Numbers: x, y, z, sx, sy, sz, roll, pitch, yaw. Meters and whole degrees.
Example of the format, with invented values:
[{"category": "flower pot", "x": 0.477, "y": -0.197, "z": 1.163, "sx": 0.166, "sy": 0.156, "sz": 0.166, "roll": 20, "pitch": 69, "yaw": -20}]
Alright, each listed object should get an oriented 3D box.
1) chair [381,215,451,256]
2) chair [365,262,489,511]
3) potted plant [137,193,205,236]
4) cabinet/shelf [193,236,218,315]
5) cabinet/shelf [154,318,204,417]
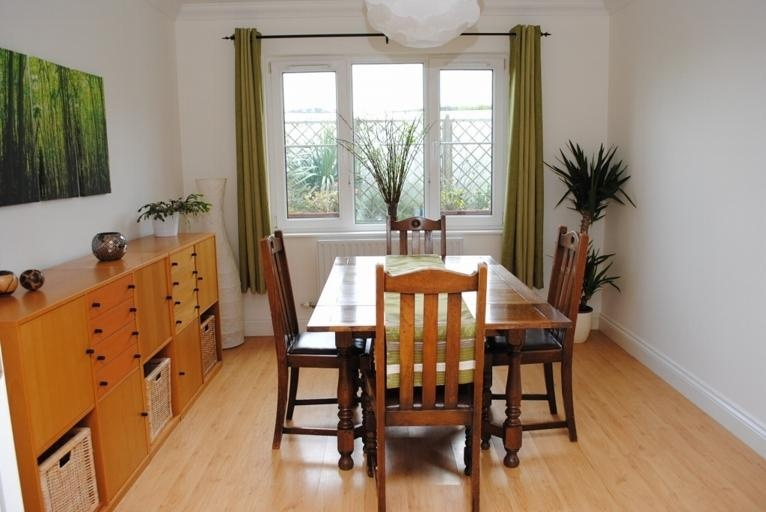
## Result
[{"category": "chair", "x": 0.280, "y": -0.151, "z": 4.796, "sx": 0.491, "sy": 0.467, "sz": 0.896, "roll": -2, "pitch": 13, "yaw": 2}, {"category": "chair", "x": 0.242, "y": 0.710, "z": 3.152, "sx": 0.694, "sy": 1.485, "sz": 0.613, "roll": 0, "pitch": 13, "yaw": 10}, {"category": "potted plant", "x": -1.761, "y": -0.335, "z": 4.610, "sx": 0.332, "sy": 0.253, "sz": 0.494, "roll": 0, "pitch": 2, "yaw": -9}, {"category": "cabinet/shelf", "x": -1.438, "y": 0.156, "z": 4.413, "sx": 0.188, "sy": 0.518, "sz": 0.565, "roll": -1, "pitch": 9, "yaw": -4}, {"category": "cabinet/shelf", "x": -1.483, "y": 0.818, "z": 3.939, "sx": 0.213, "sy": 0.657, "sz": 0.677, "roll": -3, "pitch": 1, "yaw": 5}]
